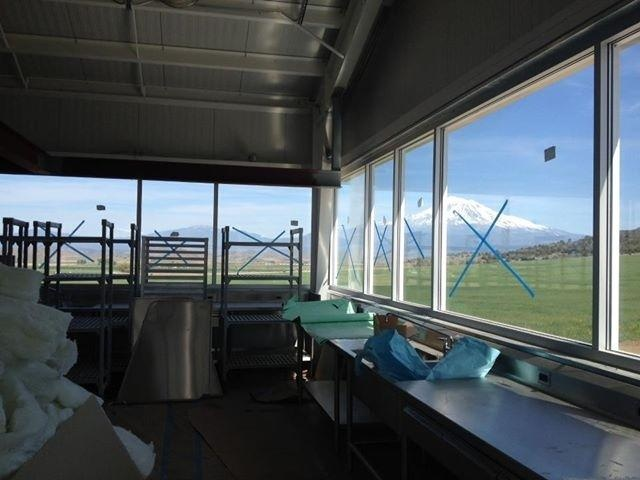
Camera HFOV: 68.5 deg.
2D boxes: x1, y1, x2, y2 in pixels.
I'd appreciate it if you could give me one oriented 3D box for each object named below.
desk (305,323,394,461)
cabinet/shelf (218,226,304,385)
[{"bbox_3d":[0.234,1.036,3.656,0.642,0.629,1.255,2,-5,-5],"label":"desk"},{"bbox_3d":[-0.688,0.667,5.379,0.846,1.645,0.518,0,-3,-9],"label":"cabinet/shelf"}]
